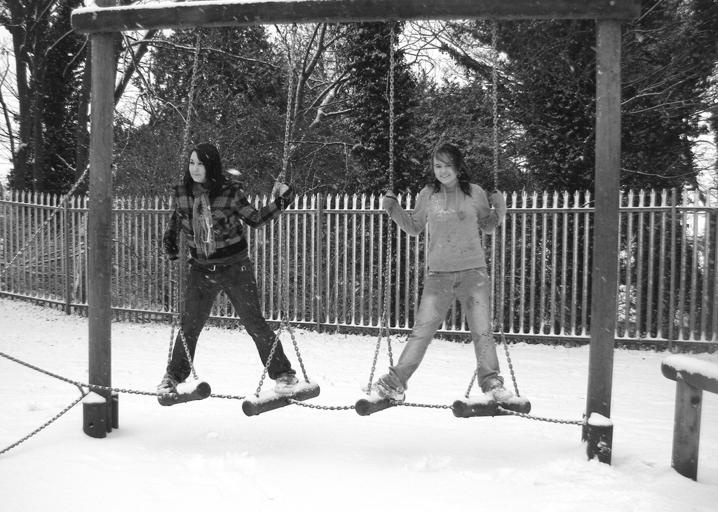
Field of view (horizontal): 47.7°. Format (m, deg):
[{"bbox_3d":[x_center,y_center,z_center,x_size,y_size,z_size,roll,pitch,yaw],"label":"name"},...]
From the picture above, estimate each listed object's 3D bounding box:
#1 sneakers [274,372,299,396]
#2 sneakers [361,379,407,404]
[{"bbox_3d":[-0.778,1.364,8.557,0.245,0.166,0.317,1,10,3],"label":"sneakers"},{"bbox_3d":[0.233,1.438,8.558,0.501,0.231,0.194,4,-9,-33],"label":"sneakers"}]
